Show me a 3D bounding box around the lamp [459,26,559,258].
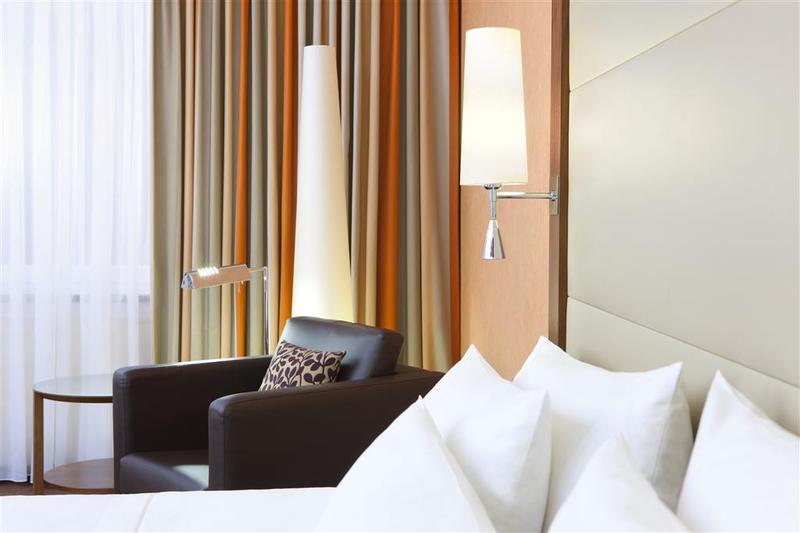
[{"bbox_3d":[0.387,-0.449,2.468,0.316,0.839,0.170,2,4,4],"label":"lamp"}]

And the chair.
[{"bbox_3d":[-0.637,0.478,3.031,0.972,1.013,0.929,4,-2,-37],"label":"chair"}]

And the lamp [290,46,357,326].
[{"bbox_3d":[-0.421,-0.464,3.740,0.329,1.516,0.282,1,4,-10],"label":"lamp"}]
